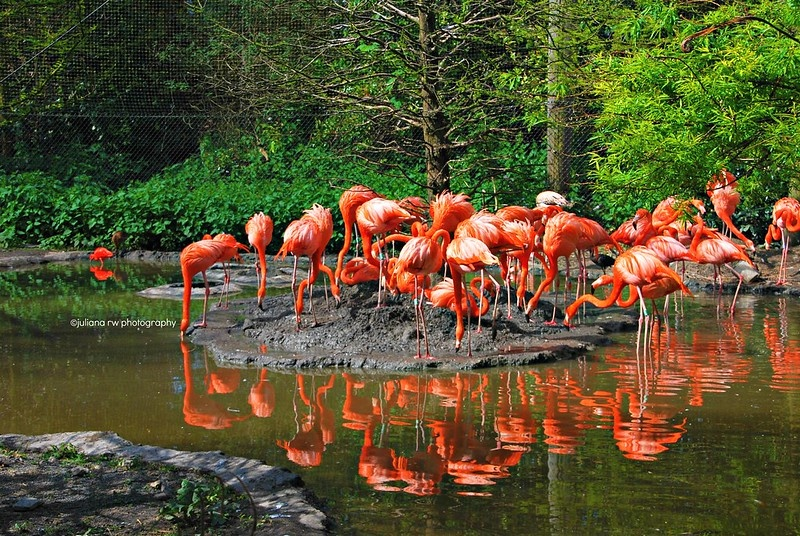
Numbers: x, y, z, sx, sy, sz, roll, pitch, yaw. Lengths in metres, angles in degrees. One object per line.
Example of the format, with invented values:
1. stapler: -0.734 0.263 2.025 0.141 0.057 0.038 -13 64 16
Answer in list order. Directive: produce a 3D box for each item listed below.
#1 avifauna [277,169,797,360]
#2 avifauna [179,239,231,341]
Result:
1. avifauna: 1.712 -0.022 12.180 5.431 1.750 2.616 -2 2 -29
2. avifauna: -2.352 0.284 12.890 0.431 1.095 1.123 -2 4 32
